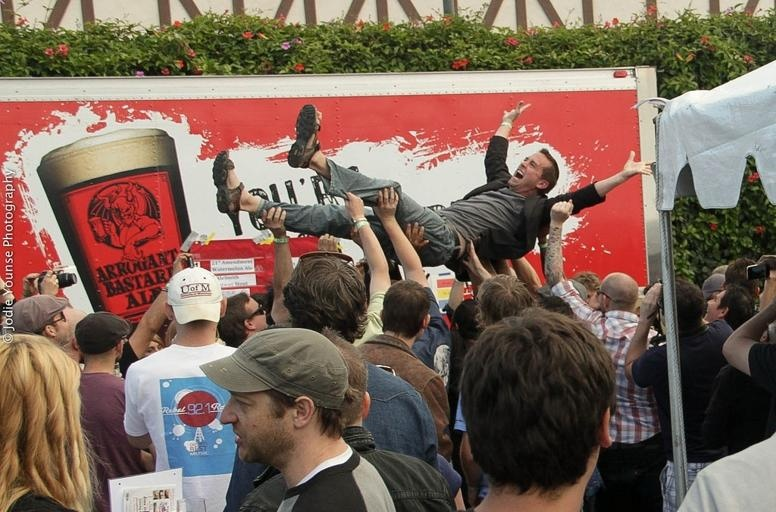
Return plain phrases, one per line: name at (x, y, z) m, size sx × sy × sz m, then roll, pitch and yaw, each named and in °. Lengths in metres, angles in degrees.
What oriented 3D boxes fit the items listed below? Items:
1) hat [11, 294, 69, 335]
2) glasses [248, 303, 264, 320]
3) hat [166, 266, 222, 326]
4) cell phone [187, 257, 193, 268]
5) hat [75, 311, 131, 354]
hat at (-2.827, 0.470, 7.923) m, size 0.425 × 0.295 × 0.250 m, roll -2°, pitch 2°, yaw -22°
glasses at (-1.113, 0.466, 8.191) m, size 0.102 × 0.032 × 0.102 m, roll -34°, pitch -2°, yaw 18°
hat at (-1.432, 0.259, 7.187) m, size 0.425 × 0.337 × 0.637 m, roll -1°, pitch 12°, yaw -17°
cell phone at (-1.840, 0.056, 9.036) m, size 0.024 × 0.092 × 0.089 m, roll 2°, pitch 5°, yaw 14°
hat at (-2.175, 0.573, 7.451) m, size 0.261 × 0.193 × 0.359 m, roll 11°, pitch 33°, yaw 24°
